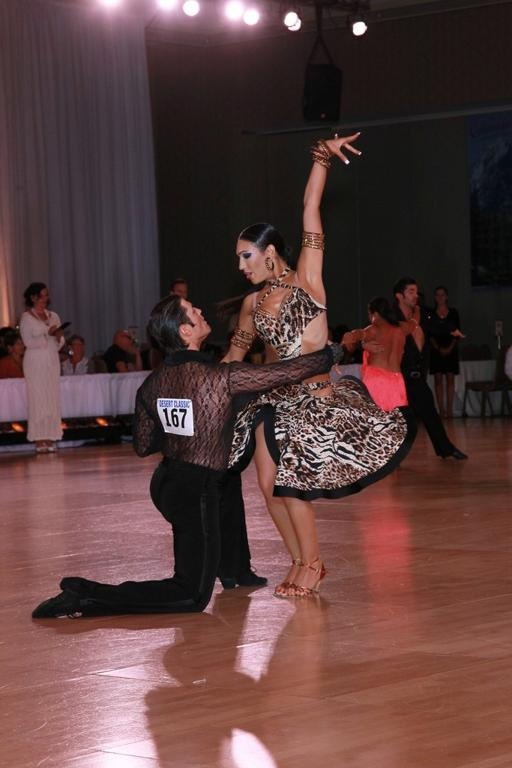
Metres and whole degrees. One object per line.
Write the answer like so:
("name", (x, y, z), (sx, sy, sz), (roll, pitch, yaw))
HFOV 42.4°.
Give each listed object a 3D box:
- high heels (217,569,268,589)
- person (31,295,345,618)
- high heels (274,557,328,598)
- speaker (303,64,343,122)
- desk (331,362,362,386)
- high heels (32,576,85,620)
("high heels", (-0.055, 0.808, 2.789), (0.218, 0.085, 0.071), (-3, -2, -7))
("person", (-0.268, 0.297, 2.497), (1.188, 1.125, 0.585), (-4, 6, -41))
("high heels", (0.189, 0.759, 2.603), (0.197, 0.095, 0.108), (-13, 8, -38))
("speaker", (1.077, -4.730, 10.753), (0.622, 0.923, 0.346), (-3, 6, 0))
("desk", (1.309, -0.082, 9.417), (0.572, 0.227, 0.625), (0, -10, -1))
("high heels", (-0.730, 0.762, 2.347), (0.272, 0.118, 0.090), (-20, -45, 31))
